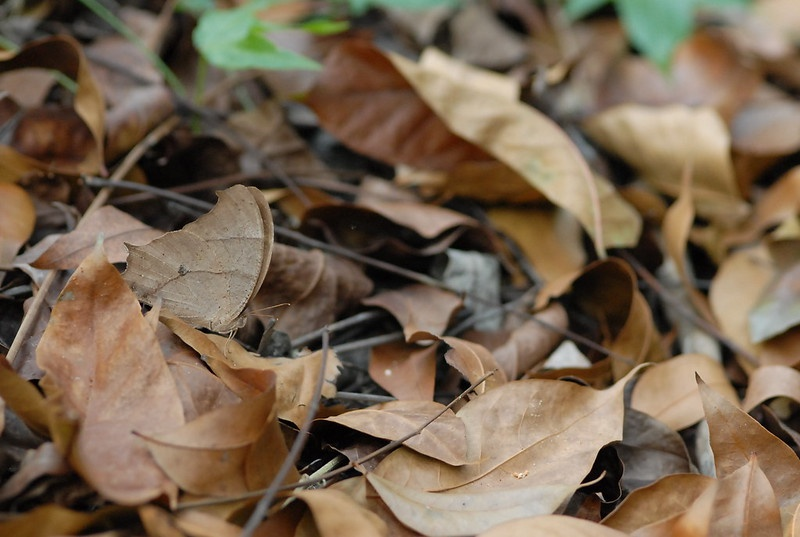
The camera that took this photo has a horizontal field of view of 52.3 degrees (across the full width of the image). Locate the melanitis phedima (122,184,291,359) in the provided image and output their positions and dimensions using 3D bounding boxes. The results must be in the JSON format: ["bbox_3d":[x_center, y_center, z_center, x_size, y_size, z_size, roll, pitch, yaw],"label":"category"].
[{"bbox_3d":[-0.219,0.040,0.902,0.176,0.142,0.234,-7,41,-12],"label":"melanitis phedima"}]
